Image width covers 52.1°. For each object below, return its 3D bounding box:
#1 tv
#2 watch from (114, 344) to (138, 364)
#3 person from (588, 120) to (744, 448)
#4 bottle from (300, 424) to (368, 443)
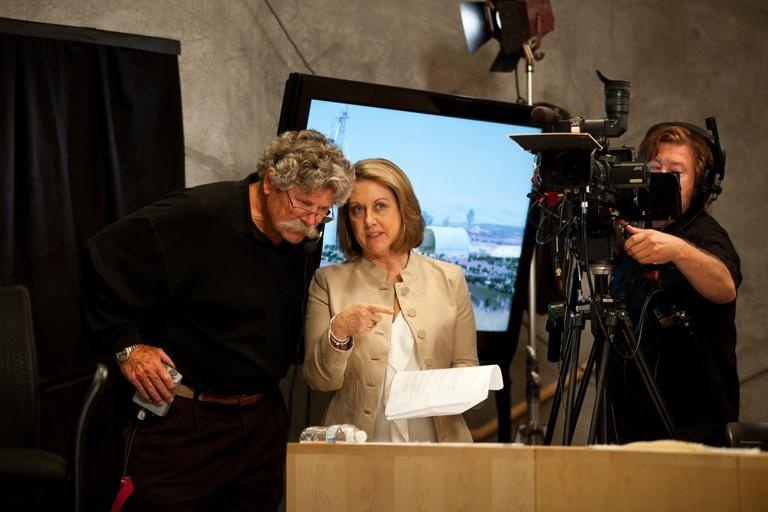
[{"bbox_3d":[0.115,-0.226,4.029,1.700,1.660,0.166,4,0,-28],"label":"tv"},{"bbox_3d":[-1.071,0.411,3.277,0.080,0.032,0.071,-36,-3,41],"label":"watch"},{"bbox_3d":[1.421,0.147,3.741,0.637,1.652,0.583,6,1,14],"label":"person"},{"bbox_3d":[-0.193,0.666,2.916,0.176,0.063,0.202,5,0,-43],"label":"bottle"}]
